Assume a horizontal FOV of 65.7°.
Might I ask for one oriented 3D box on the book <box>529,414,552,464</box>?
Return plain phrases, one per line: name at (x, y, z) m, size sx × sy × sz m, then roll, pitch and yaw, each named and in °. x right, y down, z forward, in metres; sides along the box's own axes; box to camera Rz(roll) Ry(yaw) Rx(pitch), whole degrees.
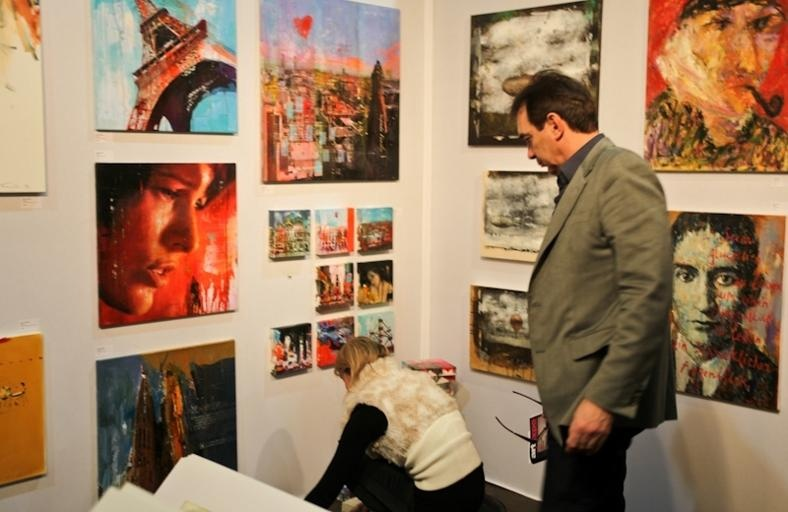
book at (0.833, 1.038, 3.504) m, size 0.180 × 0.231 × 0.020 m, roll 11°, pitch -14°, yaw -40°
